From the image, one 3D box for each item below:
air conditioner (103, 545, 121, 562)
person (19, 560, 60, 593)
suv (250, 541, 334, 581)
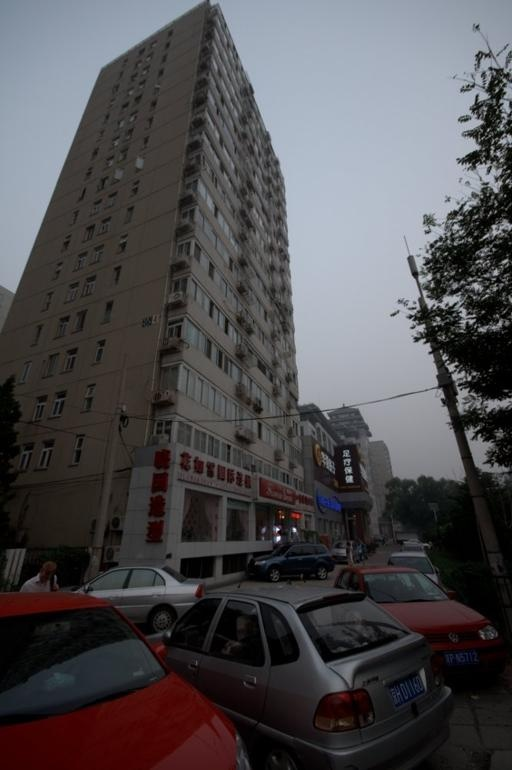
[{"bbox_3d":[-5.608,6.596,15.254,0.507,0.866,0.916,1,-32,-22],"label":"air conditioner"},{"bbox_3d":[-3.496,3.150,6.395,0.462,0.465,0.834,7,-23,-28],"label":"person"},{"bbox_3d":[1.626,7.652,16.883,3.772,1.529,0.746,7,-22,-29],"label":"suv"}]
